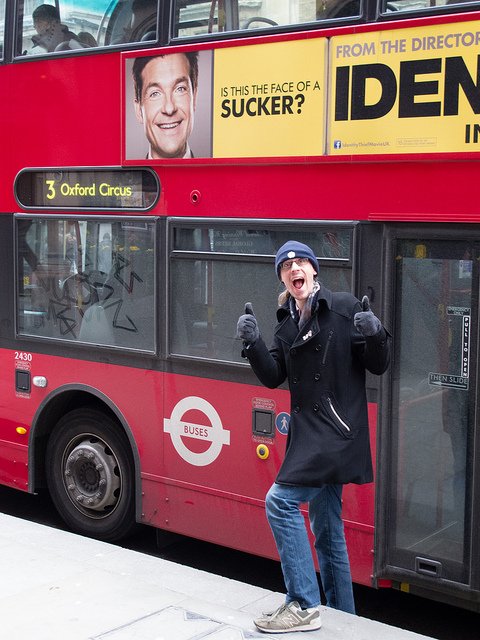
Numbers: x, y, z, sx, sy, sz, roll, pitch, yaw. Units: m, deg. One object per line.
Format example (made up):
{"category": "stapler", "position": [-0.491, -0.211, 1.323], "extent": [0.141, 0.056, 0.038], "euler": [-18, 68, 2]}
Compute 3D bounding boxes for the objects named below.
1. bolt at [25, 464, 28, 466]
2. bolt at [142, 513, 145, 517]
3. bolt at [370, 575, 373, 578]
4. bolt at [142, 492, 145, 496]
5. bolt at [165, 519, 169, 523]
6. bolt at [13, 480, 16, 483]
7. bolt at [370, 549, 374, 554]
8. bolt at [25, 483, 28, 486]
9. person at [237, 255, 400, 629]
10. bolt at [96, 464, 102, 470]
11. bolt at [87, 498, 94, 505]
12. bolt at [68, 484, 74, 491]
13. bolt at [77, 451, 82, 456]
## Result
{"category": "bolt", "position": [-1.796, 1.223, 5.311], "extent": [0.020, 0.006, 0.021], "euler": [-3, 7, -37]}
{"category": "bolt", "position": [-0.701, 1.413, 4.576], "extent": [0.015, 0.022, 0.017], "euler": [2, 7, 3]}
{"category": "bolt", "position": [0.702, 1.365, 3.369], "extent": [0.002, 0.013, 0.020], "euler": [-3, -3, -31]}
{"category": "bolt", "position": [-0.701, 1.263, 4.573], "extent": [0.016, 0.020, 0.021], "euler": [-7, -26, 23]}
{"category": "bolt", "position": [-0.514, 1.417, 4.452], "extent": [0.023, 0.030, 0.006], "euler": [1, 0, 35]}
{"category": "bolt", "position": [-1.939, 1.388, 5.436], "extent": [0.016, 0.020, 0.005], "euler": [3, -33, 6]}
{"category": "bolt", "position": [0.704, 1.232, 3.365], "extent": [0.015, 0.023, 0.017], "euler": [-3, -27, -4]}
{"category": "bolt", "position": [-1.801, 1.396, 5.336], "extent": [0.013, 0.030, 0.014], "euler": [1, 6, -28]}
{"category": "person", "position": [0.332, 0.522, 2.597], "extent": [0.639, 1.361, 0.524], "euler": [-6, -2, 23]}
{"category": "bolt", "position": [-1.075, 1.126, 4.818], "extent": [0.035, 0.040, 0.035], "euler": [2, 4, 42]}
{"category": "bolt", "position": [-1.158, 1.409, 4.882], "extent": [0.036, 0.046, 0.073], "euler": [5, -19, 4]}
{"category": "bolt", "position": [-1.342, 1.332, 5.018], "extent": [0.029, 0.052, 0.046], "euler": [2, 15, -2]}
{"category": "bolt", "position": [-1.256, 1.044, 4.936], "extent": [0.043, 0.031, 0.049], "euler": [3, 7, -25]}
